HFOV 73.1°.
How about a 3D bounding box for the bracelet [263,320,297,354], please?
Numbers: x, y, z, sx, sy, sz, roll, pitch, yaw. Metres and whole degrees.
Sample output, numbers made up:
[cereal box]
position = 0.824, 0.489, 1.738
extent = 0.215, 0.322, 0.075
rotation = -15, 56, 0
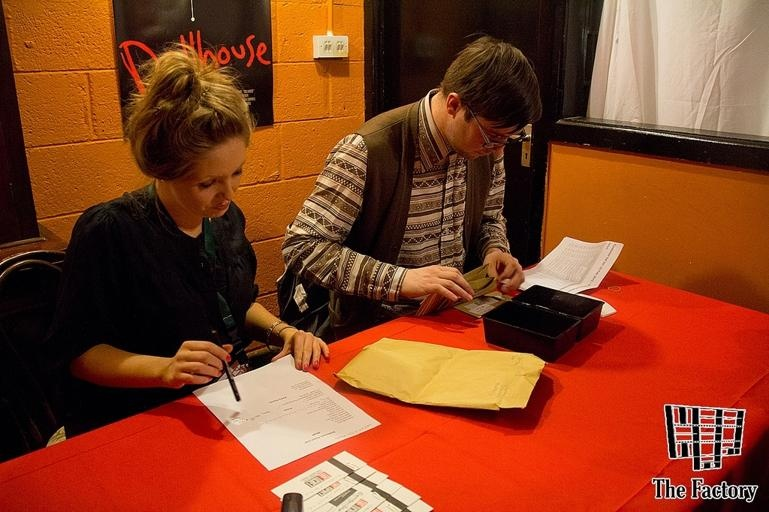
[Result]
[bracelet]
position = -0.342, 0.276, 1.790
extent = 0.063, 0.094, 0.123
rotation = -50, 22, -25

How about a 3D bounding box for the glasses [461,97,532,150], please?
[glasses]
position = 0.375, -0.426, 1.772
extent = 0.183, 0.050, 0.183
rotation = -9, 58, -47
